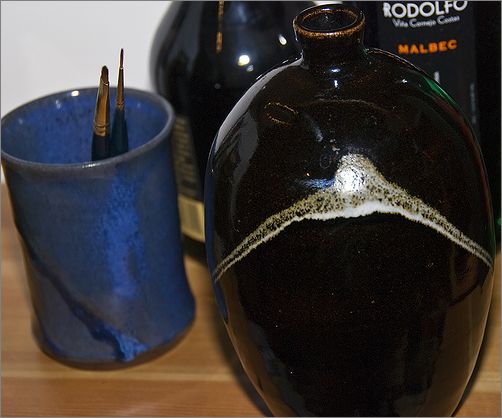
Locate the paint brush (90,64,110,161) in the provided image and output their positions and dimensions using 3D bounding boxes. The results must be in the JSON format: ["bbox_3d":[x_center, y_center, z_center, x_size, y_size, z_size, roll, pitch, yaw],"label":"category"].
[{"bbox_3d":[-0.099,-0.062,0.416,0.011,0.073,0.011,-4,32,-25],"label":"paint brush"}]
